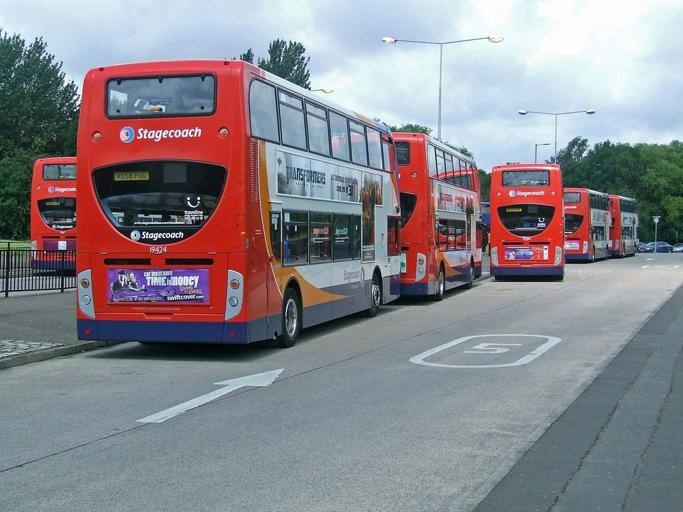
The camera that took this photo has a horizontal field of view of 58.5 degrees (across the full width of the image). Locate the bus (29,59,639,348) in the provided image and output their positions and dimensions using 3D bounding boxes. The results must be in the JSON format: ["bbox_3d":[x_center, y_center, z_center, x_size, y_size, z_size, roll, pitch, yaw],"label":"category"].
[{"bbox_3d":[0.043,-1.511,18.515,4.285,5.023,17.900,2,5,28],"label":"bus"}]
